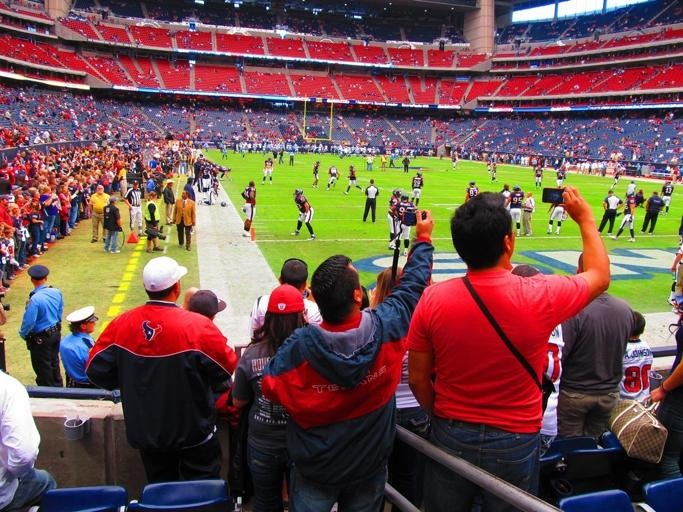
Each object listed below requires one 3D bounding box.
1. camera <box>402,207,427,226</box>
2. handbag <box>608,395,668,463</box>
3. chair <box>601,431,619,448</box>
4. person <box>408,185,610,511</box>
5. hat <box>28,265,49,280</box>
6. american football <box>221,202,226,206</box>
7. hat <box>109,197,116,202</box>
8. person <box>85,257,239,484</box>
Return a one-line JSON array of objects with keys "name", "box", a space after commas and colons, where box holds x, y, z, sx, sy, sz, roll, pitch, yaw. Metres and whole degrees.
[{"name": "camera", "box": [0.599, -0.331, 4.554, 0.177, 0.175, 0.128, -3, 9, -4]}, {"name": "handbag", "box": [2.635, 1.548, 4.890, 0.253, 0.483, 0.574, -2, 2, 5]}, {"name": "chair", "box": [2.465, 1.688, 5.022, 0.143, 0.124, 0.141, -3, 5, -23]}, {"name": "person", "box": [1.121, 0.621, 3.870, 1.270, 2.118, 0.478, -1, 8, -9]}, {"name": "hat", "box": [-4.420, 0.227, 8.063, 0.212, 0.227, 0.459, -4, 9, -25]}, {"name": "american football", "box": [-5.180, -2.294, 24.338, 0.241, 0.244, 0.239, -2, 13, -15]}, {"name": "hat", "box": [-5.970, -1.494, 14.447, 0.131, 0.072, 0.128, -3, -1, -32]}, {"name": "person", "box": [-1.507, 1.036, 4.767, 1.168, 1.905, 0.350, -2, 8, -14]}]
